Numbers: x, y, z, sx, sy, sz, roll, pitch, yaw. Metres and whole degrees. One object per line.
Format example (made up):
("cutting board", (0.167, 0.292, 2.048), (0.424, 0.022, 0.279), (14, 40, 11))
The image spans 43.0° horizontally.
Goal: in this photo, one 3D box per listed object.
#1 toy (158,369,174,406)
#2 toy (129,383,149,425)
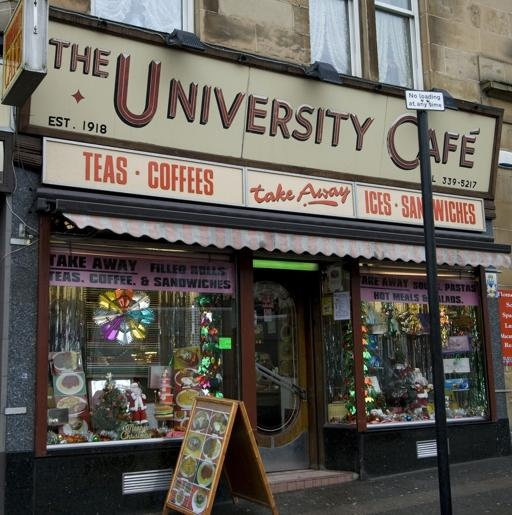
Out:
("toy", (-1.006, 1.437, 7.206), (0.134, 0.374, 0.132), (7, -16, -39))
("toy", (-1.262, 1.568, 6.962), (0.195, 0.424, 0.125), (-4, -9, -28))
